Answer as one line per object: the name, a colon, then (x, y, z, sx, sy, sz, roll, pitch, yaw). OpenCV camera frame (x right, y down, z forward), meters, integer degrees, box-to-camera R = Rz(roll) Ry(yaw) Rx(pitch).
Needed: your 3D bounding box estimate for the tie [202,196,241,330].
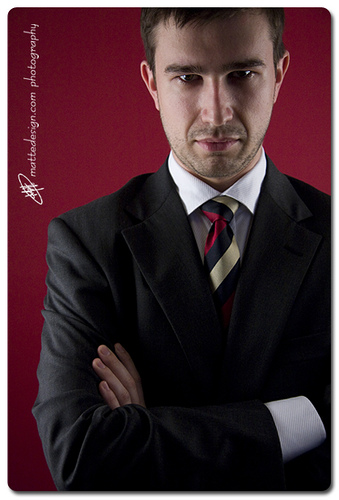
tie: (0.150, 0.053, 1.310, 0.109, 0.033, 0.376, 0, 68, 7)
